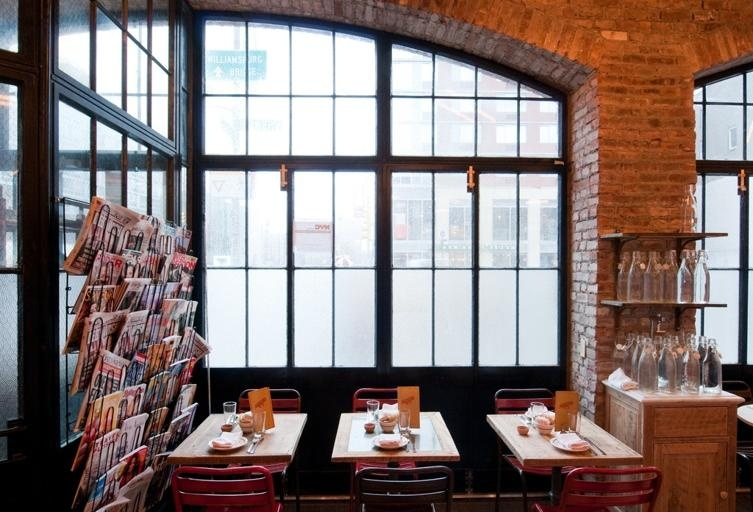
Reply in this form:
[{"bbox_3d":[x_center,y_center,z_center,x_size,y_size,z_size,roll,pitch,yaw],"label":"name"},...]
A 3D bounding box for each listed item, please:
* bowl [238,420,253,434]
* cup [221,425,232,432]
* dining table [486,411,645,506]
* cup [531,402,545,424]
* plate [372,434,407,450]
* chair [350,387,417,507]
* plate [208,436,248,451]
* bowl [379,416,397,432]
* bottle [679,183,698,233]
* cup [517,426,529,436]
[{"bbox_3d":[-1.050,1.358,6.035,0.104,0.078,0.105,0,-7,0],"label":"bowl"},{"bbox_3d":[-1.209,1.367,6.069,0.057,0.029,0.059,-1,-2,0],"label":"cup"},{"bbox_3d":[1.464,1.477,6.037,0.728,0.713,0.736,-1,0,-7],"label":"dining table"},{"bbox_3d":[1.308,1.287,6.251,0.127,0.138,0.122,2,1,0],"label":"cup"},{"bbox_3d":[0.109,1.442,5.901,0.260,0.097,0.213,2,-2,0],"label":"plate"},{"bbox_3d":[-0.034,1.483,6.613,0.589,1.120,0.684,0,-8,1],"label":"chair"},{"bbox_3d":[-1.156,1.454,5.862,0.289,0.087,0.133,2,-2,-17],"label":"plate"},{"bbox_3d":[0.089,1.340,6.074,0.109,0.078,0.110,0,-6,0],"label":"bowl"},{"bbox_3d":[2.677,-0.418,6.463,0.095,0.437,0.204,0,-3,31],"label":"bottle"},{"bbox_3d":[1.169,1.383,6.026,0.067,0.040,0.068,-2,-1,0],"label":"cup"}]
